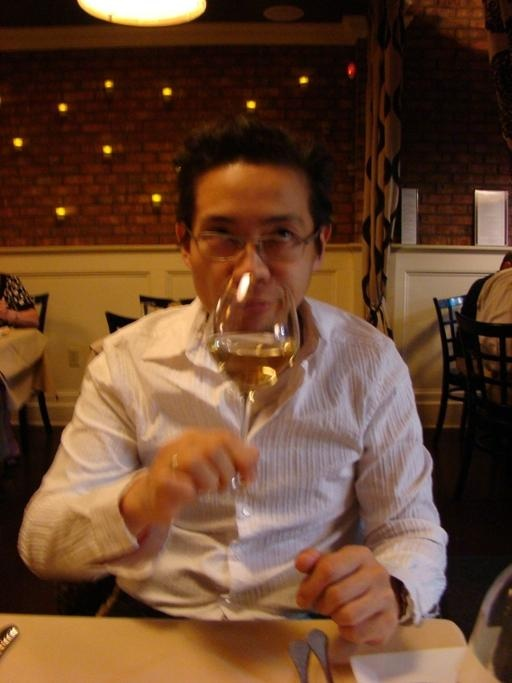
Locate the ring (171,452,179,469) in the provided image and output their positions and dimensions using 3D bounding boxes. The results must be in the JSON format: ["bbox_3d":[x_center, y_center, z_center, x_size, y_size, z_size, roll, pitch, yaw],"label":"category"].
[{"bbox_3d":[-0.089,0.131,0.634,0.009,0.014,0.004,2,-6,15],"label":"ring"}]

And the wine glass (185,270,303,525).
[{"bbox_3d":[-0.004,0.003,0.733,0.119,0.177,0.236,-1,9,-5],"label":"wine glass"}]

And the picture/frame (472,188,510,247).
[{"bbox_3d":[1.692,-0.896,4.162,0.268,0.392,0.110,-1,8,-8],"label":"picture/frame"}]

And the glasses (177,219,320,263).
[{"bbox_3d":[-0.008,-0.153,0.923,0.195,0.048,0.105,1,9,5],"label":"glasses"}]

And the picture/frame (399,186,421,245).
[{"bbox_3d":[1.068,-0.886,4.058,0.123,0.376,0.137,6,26,25],"label":"picture/frame"}]
